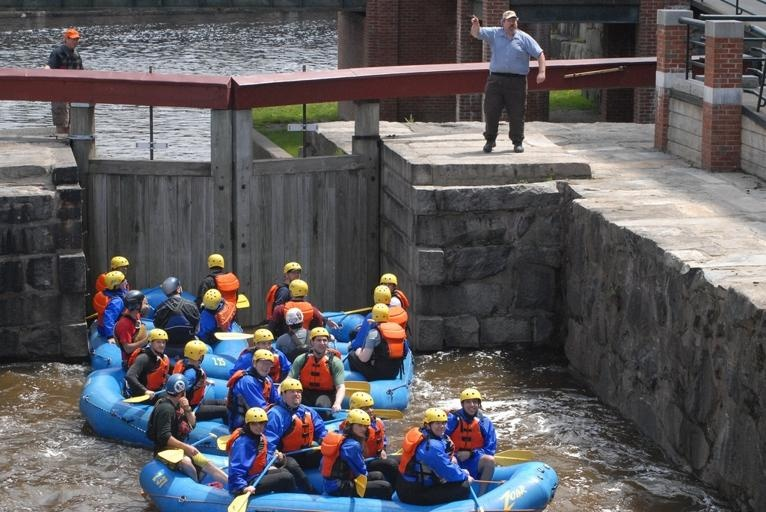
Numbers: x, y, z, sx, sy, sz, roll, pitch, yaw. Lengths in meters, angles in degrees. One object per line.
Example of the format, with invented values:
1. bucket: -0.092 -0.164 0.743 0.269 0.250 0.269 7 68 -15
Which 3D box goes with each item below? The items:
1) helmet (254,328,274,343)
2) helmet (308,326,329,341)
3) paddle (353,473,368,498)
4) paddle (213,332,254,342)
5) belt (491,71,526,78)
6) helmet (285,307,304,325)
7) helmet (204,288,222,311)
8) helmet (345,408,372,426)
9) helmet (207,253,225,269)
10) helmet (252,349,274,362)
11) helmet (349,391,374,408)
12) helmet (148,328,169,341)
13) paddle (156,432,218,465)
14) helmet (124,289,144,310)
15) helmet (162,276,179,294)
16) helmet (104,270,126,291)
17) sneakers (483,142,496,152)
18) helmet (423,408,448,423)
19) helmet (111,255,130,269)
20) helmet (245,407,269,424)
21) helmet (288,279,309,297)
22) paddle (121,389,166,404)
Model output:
1. helmet: -2.093 1.407 27.567 0.285 0.174 0.226 2 8 2
2. helmet: -1.116 1.362 27.407 0.300 0.227 0.248 -2 13 -1
3. paddle: -0.354 3.789 25.688 0.225 0.328 0.097 -12 2 -15
4. paddle: -2.854 1.549 29.660 0.839 0.034 0.220 4 34 -25
5. belt: 2.449 -3.610 30.999 0.654 0.134 0.178 -2 13 -1
6. helmet: -1.627 1.086 28.517 0.317 0.258 0.249 -3 21 19
7. helmet: -3.211 0.840 29.687 0.289 0.389 0.385 8 43 -4
8. helmet: -0.396 2.653 25.695 0.319 0.192 0.251 18 4 22
9. helmet: -3.239 0.091 30.484 0.324 0.260 0.245 7 8 35
10. helmet: -2.056 1.709 26.973 0.334 0.198 0.332 -1 13 3
11. helmet: -0.358 2.400 26.213 0.325 0.276 0.251 5 8 16
12. helmet: -3.981 1.397 27.811 0.324 0.217 0.332 -4 13 -10
13. paddle: -3.232 3.309 26.465 0.980 0.083 0.357 -24 61 -24
14. helmet: -4.592 0.794 29.054 0.343 0.329 0.275 -28 39 -31
15. helmet: -3.960 0.525 29.454 0.257 0.332 0.315 4 21 17
16. helmet: -5.105 0.486 30.063 0.389 0.368 0.301 -11 37 -24
17. sneakers: 2.126 -2.208 31.487 0.152 0.219 0.217 4 -4 -3
18. helmet: 0.851 2.625 25.621 0.374 0.277 0.426 -2 13 0
19. helmet: -5.071 0.136 30.463 0.311 0.302 0.249 -5 15 -6
20. helmet: -2.056 2.622 25.601 0.225 0.327 0.238 1 -3 -5
21. helmet: -1.591 0.609 29.457 0.256 0.298 0.364 -2 16 -28
22. paddle: -4.160 2.480 27.590 0.853 0.177 0.120 -14 10 -12
